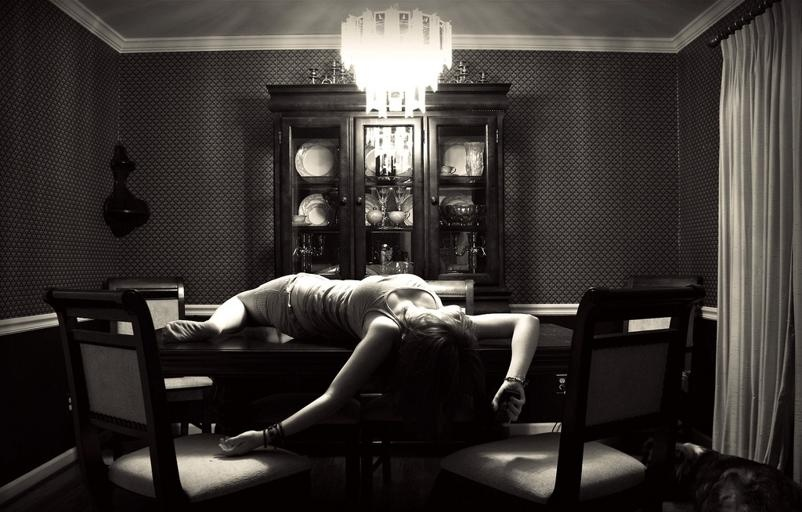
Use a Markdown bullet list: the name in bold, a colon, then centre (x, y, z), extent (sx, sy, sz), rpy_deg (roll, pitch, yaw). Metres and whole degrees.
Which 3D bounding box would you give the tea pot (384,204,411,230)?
- **tea pot**: centre (-0.022, -0.314, 5.208), extent (0.193, 0.128, 0.150), rpy_deg (1, -2, -6)

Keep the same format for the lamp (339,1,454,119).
- **lamp**: centre (0.014, -1.324, 4.601), extent (0.818, 0.618, 0.816), rpy_deg (0, 2, 19)

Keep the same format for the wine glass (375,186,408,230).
- **wine glass**: centre (-0.086, -0.397, 5.281), extent (0.351, 0.413, 0.179), rpy_deg (1, -11, -2)

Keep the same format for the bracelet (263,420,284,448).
- **bracelet**: centre (-0.637, 0.900, 3.172), extent (0.099, 0.109, 0.122), rpy_deg (8, -16, -43)

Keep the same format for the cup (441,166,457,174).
- **cup**: centre (0.397, -0.718, 5.275), extent (0.099, 0.067, 0.065), rpy_deg (2, 3, -2)

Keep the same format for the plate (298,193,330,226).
- **plate**: centre (-0.722, -0.393, 5.308), extent (0.264, 0.258, 0.069), rpy_deg (-16, 6, 3)

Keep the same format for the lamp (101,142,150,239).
- **lamp**: centre (-2.439, -0.571, 5.621), extent (0.395, 0.829, 0.172), rpy_deg (-1, 4, -28)

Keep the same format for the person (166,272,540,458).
- **person**: centre (-0.152, 0.457, 3.370), extent (1.467, 0.559, 1.125), rpy_deg (9, 9, 28)

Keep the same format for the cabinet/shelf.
- **cabinet/shelf**: centre (-0.075, -0.542, 5.073), extent (1.858, 1.738, 0.488), rpy_deg (0, -1, 1)
